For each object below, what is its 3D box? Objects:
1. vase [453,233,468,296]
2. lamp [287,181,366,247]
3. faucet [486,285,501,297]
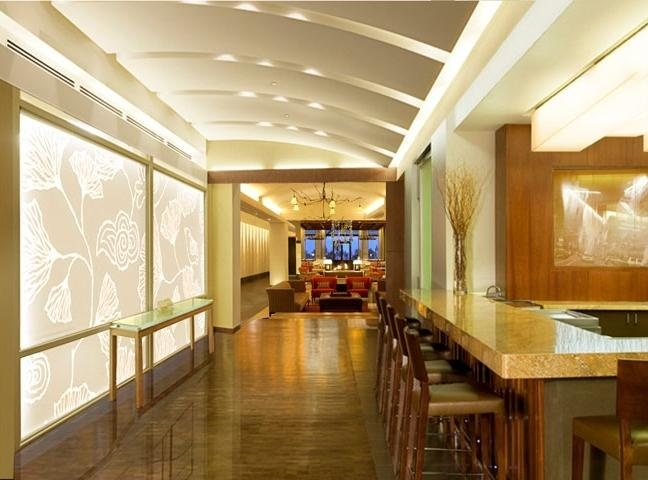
[{"bbox_3d":[1.598,0.262,5.373,0.120,0.647,0.345,0,4,12],"label":"vase"},{"bbox_3d":[0.020,-1.073,17.205,1.728,2.055,1.930,0,-7,-3],"label":"lamp"},{"bbox_3d":[2.030,0.619,5.524,0.171,0.117,0.184,-1,-6,12],"label":"faucet"}]
